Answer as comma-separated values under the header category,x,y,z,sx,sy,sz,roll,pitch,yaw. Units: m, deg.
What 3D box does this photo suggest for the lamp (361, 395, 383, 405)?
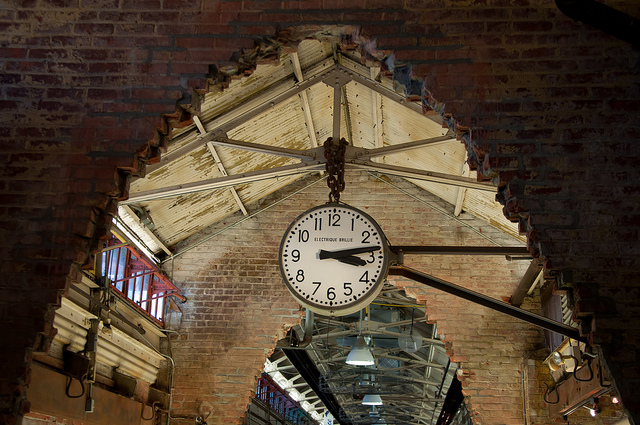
category,x,y,z,sx,sy,sz,roll,pitch,yaw
lamp,1.353,4.891,24.138,0.391,0.167,0.350,0,-7,7
